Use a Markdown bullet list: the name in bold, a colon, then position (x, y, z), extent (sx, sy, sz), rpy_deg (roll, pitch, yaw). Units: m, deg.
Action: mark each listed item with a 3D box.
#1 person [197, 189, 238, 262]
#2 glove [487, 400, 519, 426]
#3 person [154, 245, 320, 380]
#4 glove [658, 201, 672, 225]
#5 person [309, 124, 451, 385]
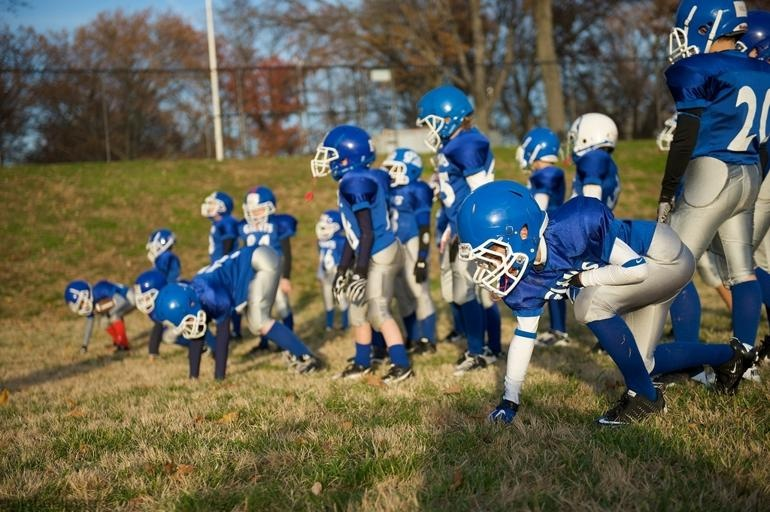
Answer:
- **person**: position (-2.511, -0.424, 13.544), extent (0.425, 1.251, 0.699), rpy_deg (7, -33, -17)
- **glove**: position (1.159, 1.557, 9.192), extent (0.164, 0.139, 0.306), rpy_deg (7, 1, 27)
- **person**: position (-1.822, 0.727, 11.145), extent (0.876, 1.486, 2.234), rpy_deg (-1, 8, 43)
- **glove**: position (2.827, -0.443, 9.392), extent (0.152, 0.252, 0.112), rpy_deg (8, 4, 5)
- **person**: position (-0.242, -0.069, 10.738), extent (0.930, 2.912, 1.126), rpy_deg (-4, 7, 1)
